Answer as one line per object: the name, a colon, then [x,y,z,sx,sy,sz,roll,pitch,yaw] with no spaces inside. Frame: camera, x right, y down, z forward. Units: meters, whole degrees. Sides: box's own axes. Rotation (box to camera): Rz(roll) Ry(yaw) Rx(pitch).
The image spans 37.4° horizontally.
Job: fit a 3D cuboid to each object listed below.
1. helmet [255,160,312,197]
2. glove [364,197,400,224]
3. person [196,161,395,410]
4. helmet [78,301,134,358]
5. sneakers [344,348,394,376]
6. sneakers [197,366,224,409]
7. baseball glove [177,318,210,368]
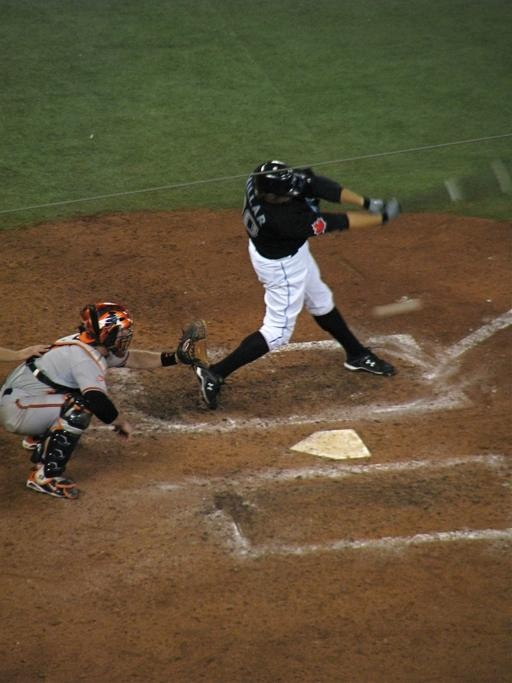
helmet: [0.135,-0.854,3.937,0.278,0.178,0.288,8,41,9]
glove: [0.684,-0.706,4.079,0.178,0.128,0.070,-2,5,24]
person: [0.202,-0.280,4.228,1.236,1.457,0.721,-9,46,-10]
helmet: [-0.727,-0.063,3.684,0.330,0.245,0.217,-3,28,-17]
sneakers: [0.692,0.122,4.619,0.321,0.109,0.122,6,30,8]
sneakers: [-0.255,0.250,4.234,0.163,0.253,0.099,-18,3,-6]
baseball glove: [-0.349,0.022,4.225,0.184,0.298,0.120,1,17,-13]
